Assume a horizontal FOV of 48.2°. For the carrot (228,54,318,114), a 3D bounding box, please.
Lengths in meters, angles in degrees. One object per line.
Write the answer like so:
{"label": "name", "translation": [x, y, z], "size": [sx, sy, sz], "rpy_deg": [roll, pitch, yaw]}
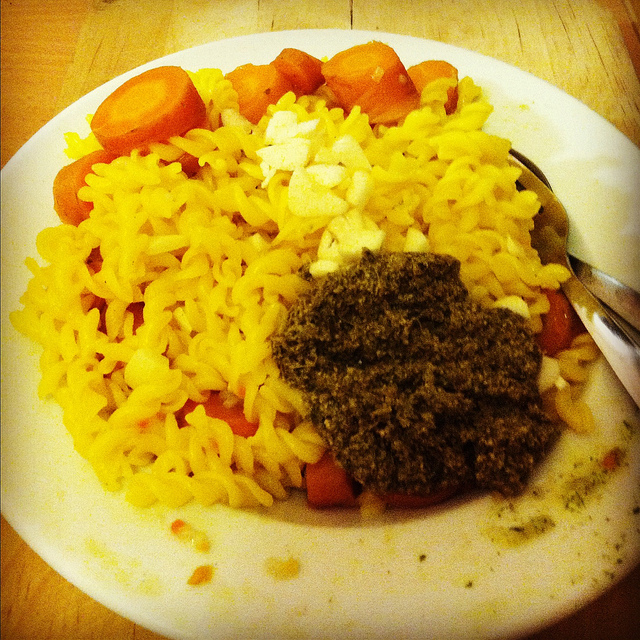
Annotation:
{"label": "carrot", "translation": [-0.103, -0.529, 1.583], "size": [0.137, 0.040, 0.143], "rpy_deg": [-33, 34, -3]}

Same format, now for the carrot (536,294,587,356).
{"label": "carrot", "translation": [0.478, 0.006, 1.453], "size": [0.097, 0.015, 0.111], "rpy_deg": [-30, 80, -2]}

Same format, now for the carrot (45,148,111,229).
{"label": "carrot", "translation": [-0.511, -0.253, 1.513], "size": [0.135, 0.046, 0.175], "rpy_deg": [-34, 57, 16]}

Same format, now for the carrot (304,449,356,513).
{"label": "carrot", "translation": [0.019, 0.313, 1.355], "size": [0.098, 0.050, 0.108], "rpy_deg": [-7, 81, 3]}

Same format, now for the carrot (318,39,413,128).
{"label": "carrot", "translation": [0.095, -0.535, 1.581], "size": [0.166, 0.229, 0.122], "rpy_deg": [-34, 84, 28]}

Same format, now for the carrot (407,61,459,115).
{"label": "carrot", "translation": [0.259, -0.525, 1.586], "size": [0.110, 0.031, 0.118], "rpy_deg": [11, 83, 38]}

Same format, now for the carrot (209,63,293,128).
{"label": "carrot", "translation": [-0.141, -0.520, 1.558], "size": [0.156, 0.046, 0.157], "rpy_deg": [-31, 80, 17]}
